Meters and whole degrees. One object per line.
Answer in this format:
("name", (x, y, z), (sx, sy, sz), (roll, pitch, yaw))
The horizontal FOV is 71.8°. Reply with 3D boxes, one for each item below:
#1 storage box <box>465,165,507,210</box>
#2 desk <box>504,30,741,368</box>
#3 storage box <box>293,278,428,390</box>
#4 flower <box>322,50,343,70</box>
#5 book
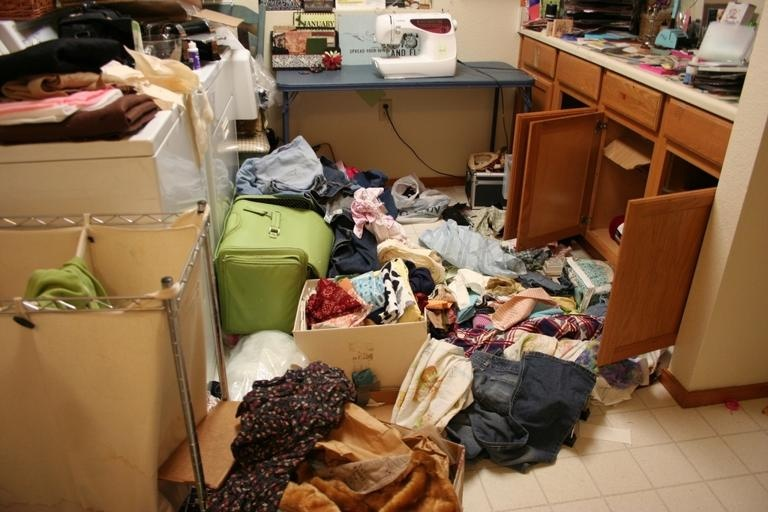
("storage box", (0.782, -0.596, 4.024), (0.281, 0.311, 0.445), (1, 38, 5))
("desk", (1.359, -0.551, 3.220), (1.148, 1.101, 2.318), (-2, 30, 3))
("storage box", (-0.109, 0.367, 2.426), (0.390, 0.237, 0.380), (-3, 27, -3))
("flower", (-0.390, -1.424, 3.906), (0.137, 0.136, 0.050), (-3, 3, -12))
("book", (1.516, -1.130, 2.842), (0.451, 0.263, 1.356), (-6, 30, -9))
